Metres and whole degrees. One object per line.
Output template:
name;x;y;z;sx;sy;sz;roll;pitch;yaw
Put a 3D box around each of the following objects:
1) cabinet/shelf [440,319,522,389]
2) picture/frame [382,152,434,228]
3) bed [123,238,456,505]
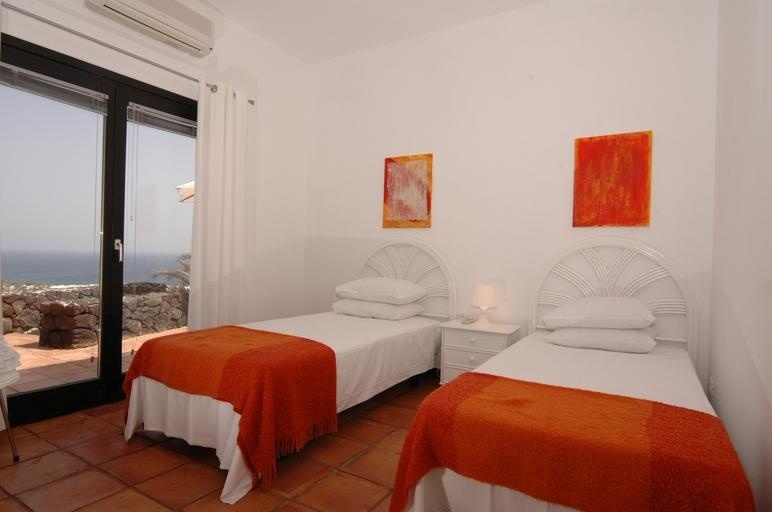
cabinet/shelf;0.909;0.810;4.427;0.789;0.769;0.576;-2;-4;33
picture/frame;0.265;-0.720;4.941;0.840;1.039;0.078;2;1;24
bed;-0.704;0.716;4.127;1.577;1.440;2.596;0;0;40
